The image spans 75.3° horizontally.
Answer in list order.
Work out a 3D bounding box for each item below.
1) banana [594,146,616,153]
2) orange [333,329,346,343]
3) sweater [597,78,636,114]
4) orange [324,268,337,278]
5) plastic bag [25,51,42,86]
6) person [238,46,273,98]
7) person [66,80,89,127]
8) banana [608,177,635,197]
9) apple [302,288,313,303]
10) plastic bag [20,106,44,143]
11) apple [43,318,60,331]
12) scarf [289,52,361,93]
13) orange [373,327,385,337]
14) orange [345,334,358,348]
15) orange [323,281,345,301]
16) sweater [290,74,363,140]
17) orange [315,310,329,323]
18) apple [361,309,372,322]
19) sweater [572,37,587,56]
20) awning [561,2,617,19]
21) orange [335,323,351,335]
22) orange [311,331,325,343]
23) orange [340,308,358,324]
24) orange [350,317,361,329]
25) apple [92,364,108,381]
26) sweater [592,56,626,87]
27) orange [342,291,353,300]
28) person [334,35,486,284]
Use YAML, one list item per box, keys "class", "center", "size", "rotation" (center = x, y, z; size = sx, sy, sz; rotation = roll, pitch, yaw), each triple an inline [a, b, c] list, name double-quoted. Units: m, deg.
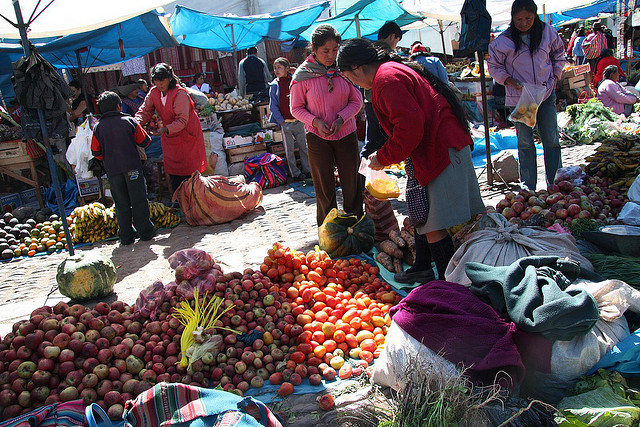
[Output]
- class: "banana"
  center: [3.984, -0.882, 5.790]
  size: [0.195, 0.066, 0.133]
  rotation: [3, 21, 34]
- class: "orange"
  center: [0.175, 1.145, 3.828]
  size: [0.096, 0.102, 0.120]
  rotation: [-11, -25, 14]
- class: "sweater"
  center: [7.464, -2.953, 10.476]
  size: [0.785, 0.832, 0.565]
  rotation: [2, 20, 33]
- class: "orange"
  center: [0.112, 0.659, 4.606]
  size: [0.113, 0.088, 0.085]
  rotation: [21, 34, 13]
- class: "plastic bag"
  center: [-3.573, -1.795, 5.156]
  size: [0.227, 0.383, 0.178]
  rotation: [-19, 20, -32]
- class: "person"
  center: [-1.837, -3.692, 11.443]
  size: [0.914, 2.095, 0.652]
  rotation: [-11, 58, -15]
- class: "person"
  center: [-5.858, -2.645, 9.944]
  size: [0.475, 1.080, 0.954]
  rotation: [-17, 19, -26]
- class: "banana"
  center: [3.873, -0.343, 5.364]
  size: [0.202, 0.102, 0.287]
  rotation: [-40, 18, -5]
- class: "apple"
  center: [-0.132, 0.837, 4.189]
  size: [0.106, 0.133, 0.108]
  rotation: [-8, -3, 1]
- class: "plastic bag"
  center: [-3.781, -1.167, 5.489]
  size: [0.370, 0.482, 0.192]
  rotation: [1, 13, 2]
- class: "apple"
  center: [-2.368, 0.991, 3.662]
  size: [0.123, 0.103, 0.098]
  rotation: [-9, 20, -15]
- class: "scarf"
  center: [-0.030, -1.786, 5.282]
  size: [0.718, 0.516, 0.245]
  rotation: [-7, 17, 6]
- class: "orange"
  center: [0.530, 1.099, 3.852]
  size: [0.068, 0.070, 0.069]
  rotation: [-16, 8, 13]
- class: "orange"
  center: [0.280, 1.172, 3.768]
  size: [0.112, 0.114, 0.058]
  rotation: [-7, 17, 7]
- class: "orange"
  center: [0.152, 0.825, 4.386]
  size: [0.150, 0.064, 0.156]
  rotation: [24, -16, 9]
- class: "sweater"
  center: [0.094, -1.458, 5.403]
  size: [0.946, 0.942, 0.570]
  rotation: [-5, 13, -11]
- class: "orange"
  center: [0.023, 0.993, 3.991]
  size: [0.094, 0.096, 0.111]
  rotation: [-32, -7, 6]
- class: "apple"
  center: [0.439, 0.985, 3.964]
  size: [0.120, 0.086, 0.095]
  rotation: [-13, 18, -13]
- class: "sweater"
  center: [9.454, -6.106, 15.161]
  size: [0.360, 0.651, 0.735]
  rotation: [0, 19, 26]
- class: "awning"
  center: [12.587, -9.409, 19.282]
  size: [1.883, 0.407, 3.831]
  rotation: [3, 21, 34]
- class: "orange"
  center: [0.213, 1.072, 3.821]
  size: [0.101, 0.084, 0.079]
  rotation: [5, 38, -14]
- class: "orange"
  center: [-0.017, 1.135, 3.778]
  size: [0.104, 0.094, 0.087]
  rotation: [10, -34, -46]
- class: "orange"
  center: [0.271, 0.973, 3.981]
  size: [0.154, 0.088, 0.080]
  rotation: [-48, 13, -11]
- class: "orange"
  center: [0.328, 1.042, 3.901]
  size: [0.102, 0.072, 0.073]
  rotation: [-7, 17, 5]
- class: "apple"
  center: [-1.845, 1.350, 3.504]
  size: [0.106, 0.110, 0.108]
  rotation: [-1, 7, 3]
- class: "sweater"
  center: [8.715, -4.380, 12.657]
  size: [0.854, 0.866, 0.742]
  rotation: [-8, 37, 26]
- class: "orange"
  center: [0.285, 0.870, 4.372]
  size: [0.069, 0.088, 0.072]
  rotation: [-7, 20, -6]
- class: "person"
  center: [0.923, -0.496, 3.953]
  size: [1.168, 2.386, 0.589]
  rotation: [-2, 18, 21]
